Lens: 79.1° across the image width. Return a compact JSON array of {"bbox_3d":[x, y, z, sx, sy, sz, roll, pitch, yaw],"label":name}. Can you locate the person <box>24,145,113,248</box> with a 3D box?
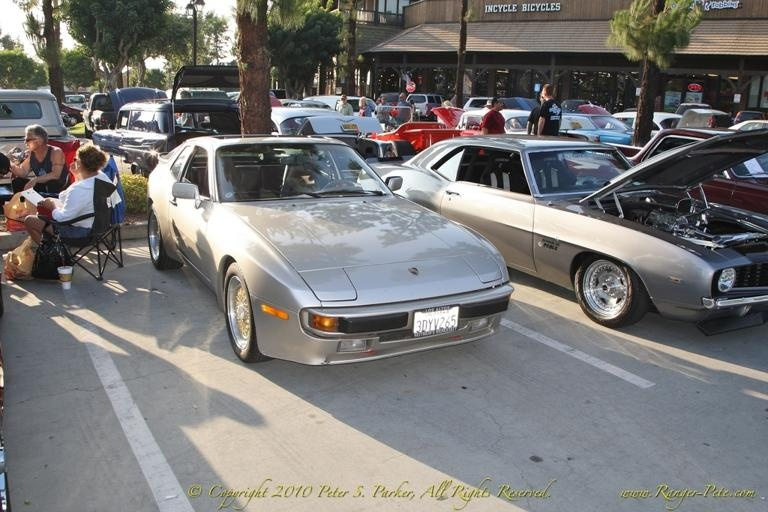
[{"bbox_3d":[-4.170,-0.792,6.117,1.125,1.242,0.471,-10,21,-19],"label":"person"}]

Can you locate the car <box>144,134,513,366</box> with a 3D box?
[{"bbox_3d":[-0.781,-0.238,5.028,2.240,2.076,3.616,-15,21,-34],"label":"car"}]

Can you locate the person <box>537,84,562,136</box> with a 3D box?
[{"bbox_3d":[4.025,-3.529,11.222,0.510,1.228,2.208,4,18,18],"label":"person"}]

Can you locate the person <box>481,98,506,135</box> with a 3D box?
[{"bbox_3d":[2.660,-3.400,11.281,0.533,0.801,0.581,12,24,36],"label":"person"}]
